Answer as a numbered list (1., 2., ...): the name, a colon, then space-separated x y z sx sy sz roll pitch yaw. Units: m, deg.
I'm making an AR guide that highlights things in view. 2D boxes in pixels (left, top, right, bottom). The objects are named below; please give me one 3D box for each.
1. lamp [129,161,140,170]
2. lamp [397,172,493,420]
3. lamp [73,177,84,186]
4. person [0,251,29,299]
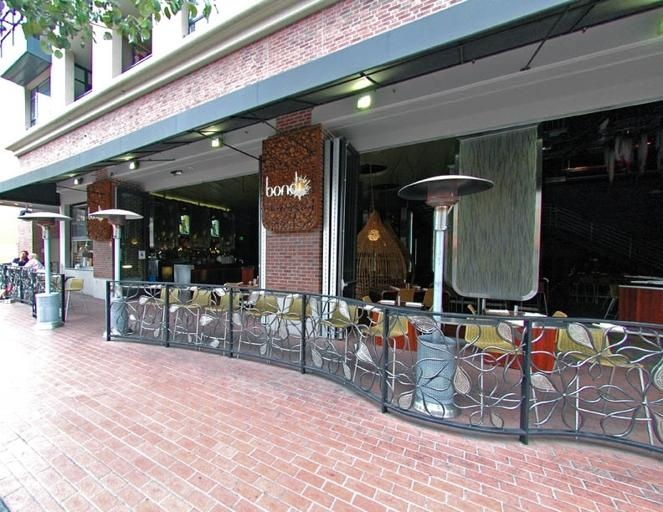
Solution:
1. lamp: -4.944 -2.288 12.033 0.092 0.214 0.235 4 5 33
2. lamp: 1.512 0.532 6.731 1.068 3.276 1.324 4 14 11
3. lamp: -7.451 -2.195 14.069 0.203 0.242 0.355 1 1 12
4. person: -8.806 0.501 13.276 0.784 1.258 1.693 -8 16 -32
